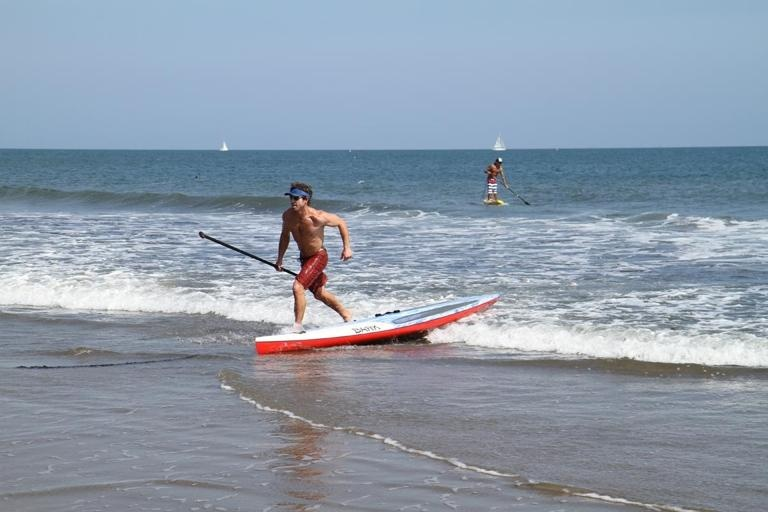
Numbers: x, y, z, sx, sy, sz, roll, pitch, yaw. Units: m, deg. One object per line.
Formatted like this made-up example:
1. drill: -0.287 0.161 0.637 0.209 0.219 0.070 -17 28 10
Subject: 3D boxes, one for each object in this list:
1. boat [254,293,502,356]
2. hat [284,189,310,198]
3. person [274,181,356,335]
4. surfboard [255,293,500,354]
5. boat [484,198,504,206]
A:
1. boat: 0.405 1.017 14.271 4.959 0.285 0.849 -5 6 -24
2. hat: -1.170 -0.833 13.069 0.171 0.048 0.245 -1 -3 45
3. person: -0.992 0.019 13.468 0.969 2.001 0.962 2 5 -5
4. surfboard: 0.400 1.010 14.252 4.893 0.282 0.849 -4 6 -24
5. boat: 3.357 -1.680 30.565 0.472 0.120 0.464 0 -1 -2
